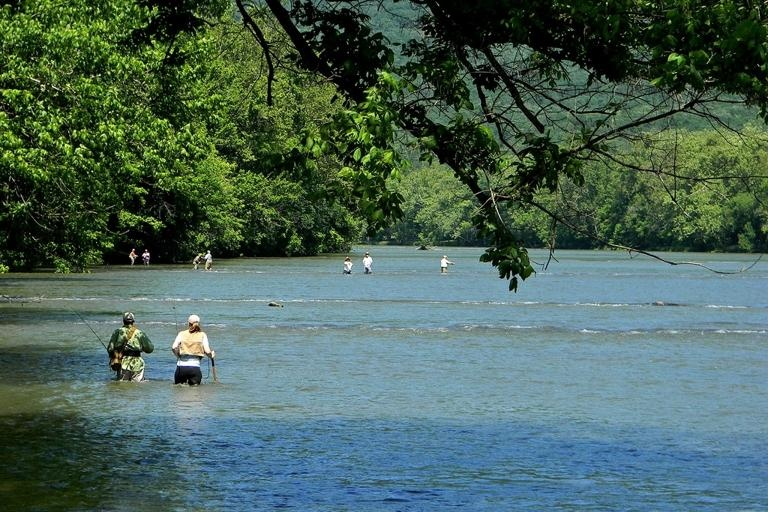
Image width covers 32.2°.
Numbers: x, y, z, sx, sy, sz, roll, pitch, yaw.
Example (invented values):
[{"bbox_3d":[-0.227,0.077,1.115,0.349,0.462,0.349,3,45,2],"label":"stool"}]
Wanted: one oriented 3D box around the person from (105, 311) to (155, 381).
[{"bbox_3d":[-6.098,2.194,31.667,0.961,1.590,0.629,1,1,-11],"label":"person"}]
